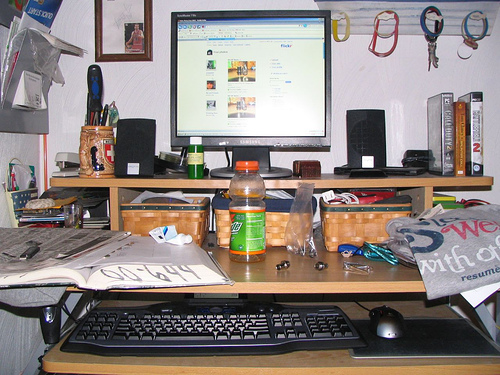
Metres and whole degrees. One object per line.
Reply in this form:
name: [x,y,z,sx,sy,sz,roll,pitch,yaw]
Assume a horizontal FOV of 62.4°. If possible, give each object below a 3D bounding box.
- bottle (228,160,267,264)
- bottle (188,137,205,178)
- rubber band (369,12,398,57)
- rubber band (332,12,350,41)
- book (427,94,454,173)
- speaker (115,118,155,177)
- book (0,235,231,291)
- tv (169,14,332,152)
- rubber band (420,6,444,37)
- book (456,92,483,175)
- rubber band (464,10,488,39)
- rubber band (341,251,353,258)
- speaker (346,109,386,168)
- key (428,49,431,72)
bottle: [-0.007,0.066,1.307,0.123,0.293,0.277,-1,4,0]
bottle: [-0.188,-0.101,1.436,0.052,0.137,0.102,-1,4,-8]
rubber band: [0.532,-0.599,1.641,0.115,0.169,0.011,-1,3,0]
rubber band: [0.363,-0.627,1.638,0.073,0.102,0.025,1,6,5]
book: [0.696,-0.194,1.531,0.056,0.284,0.250,0,4,11]
speaker: [-0.412,-0.137,1.480,0.135,0.204,0.059,-1,3,-7]
book: [-0.340,0.195,1.130,0.543,0.087,0.302,-1,4,-10]
tv: [0.012,-0.388,1.480,0.510,0.404,0.038,0,7,-3]
rubber band: [0.715,-0.641,1.624,0.099,0.108,0.036,-11,7,2]
book: [0.758,-0.180,1.442,0.050,0.275,0.102,-1,3,-9]
rubber band: [0.881,-0.623,1.600,0.105,0.102,0.024,-4,8,0]
rubber band: [0.296,0.203,1.261,0.021,0.010,0.029,1,2,9]
speaker: [0.436,-0.180,1.553,0.137,0.210,0.043,0,3,8]
key: [0.717,-0.499,1.650,0.010,0.084,0.004,0,3,2]
